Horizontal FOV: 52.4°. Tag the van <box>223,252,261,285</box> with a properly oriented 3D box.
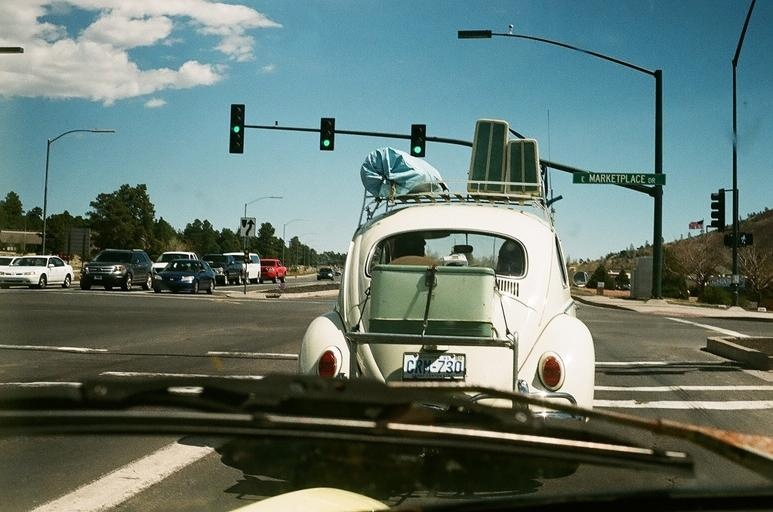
[{"bbox_3d":[-8.548,0.773,45.997,1.751,1.567,3.344,-1,-3,14],"label":"van"}]

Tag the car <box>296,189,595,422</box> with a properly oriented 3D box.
[{"bbox_3d":[0.876,0.314,7.827,1.737,1.513,3.074,1,0,11],"label":"car"}]

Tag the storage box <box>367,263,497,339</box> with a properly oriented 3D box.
[{"bbox_3d":[0.393,0.373,6.590,1.044,0.604,0.294,4,-2,-3],"label":"storage box"}]

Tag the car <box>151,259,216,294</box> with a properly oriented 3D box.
[{"bbox_3d":[-8.223,0.849,32.729,1.203,0.937,2.781,-1,-7,8],"label":"car"}]

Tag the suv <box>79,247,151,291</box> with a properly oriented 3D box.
[{"bbox_3d":[-11.078,0.568,32.840,1.313,1.169,2.977,-1,-7,10],"label":"suv"}]

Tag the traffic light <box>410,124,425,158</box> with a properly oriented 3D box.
[{"bbox_3d":[1.014,-3.674,24.977,0.408,0.952,0.309,3,-3,20],"label":"traffic light"}]

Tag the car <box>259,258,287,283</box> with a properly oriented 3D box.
[{"bbox_3d":[-7.859,1.072,55.972,1.850,1.518,3.525,-1,-9,12],"label":"car"}]

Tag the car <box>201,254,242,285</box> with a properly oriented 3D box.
[{"bbox_3d":[-9.251,0.718,44.865,1.240,1.024,2.864,-1,-6,12],"label":"car"}]

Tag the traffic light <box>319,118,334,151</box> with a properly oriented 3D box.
[{"bbox_3d":[-1.861,-3.880,24.704,0.434,1.001,0.886,4,-2,-7],"label":"traffic light"}]
